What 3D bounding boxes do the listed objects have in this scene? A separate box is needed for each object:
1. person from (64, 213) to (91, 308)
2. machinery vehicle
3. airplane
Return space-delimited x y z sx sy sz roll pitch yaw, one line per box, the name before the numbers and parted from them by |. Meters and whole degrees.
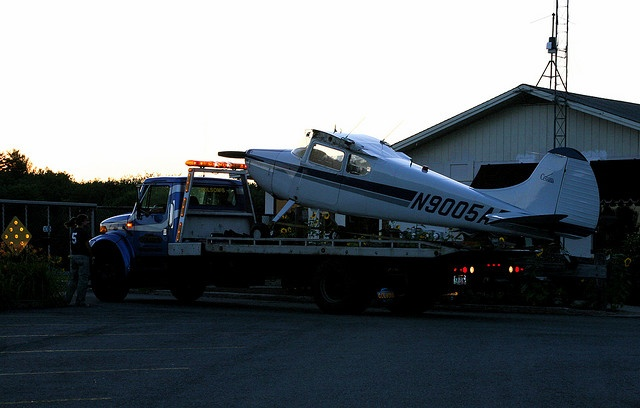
person | -6.733 1.550 18.504 0.558 2.537 0.734 5 -7 -20
machinery vehicle | -2.446 0.332 20.515 13.139 4.729 4.586 4 0 32
airplane | 3.265 -0.324 17.819 5.589 1.468 4.867 9 3 27
